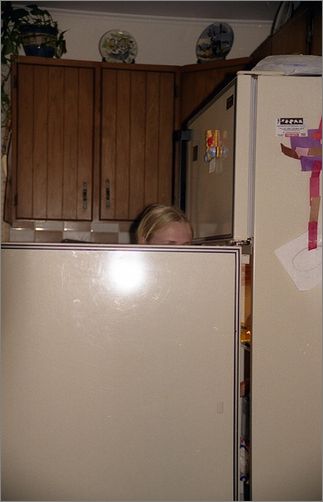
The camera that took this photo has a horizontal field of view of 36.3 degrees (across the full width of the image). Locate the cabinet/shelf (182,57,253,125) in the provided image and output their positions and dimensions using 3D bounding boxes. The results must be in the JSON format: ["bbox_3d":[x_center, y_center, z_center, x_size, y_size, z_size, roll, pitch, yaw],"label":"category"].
[{"bbox_3d":[0.181,-0.775,2.393,0.169,0.292,0.180,15,20,8],"label":"cabinet/shelf"}]

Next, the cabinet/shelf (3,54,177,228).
[{"bbox_3d":[-0.353,-0.598,2.484,0.806,0.787,0.318,-7,27,-23],"label":"cabinet/shelf"}]
